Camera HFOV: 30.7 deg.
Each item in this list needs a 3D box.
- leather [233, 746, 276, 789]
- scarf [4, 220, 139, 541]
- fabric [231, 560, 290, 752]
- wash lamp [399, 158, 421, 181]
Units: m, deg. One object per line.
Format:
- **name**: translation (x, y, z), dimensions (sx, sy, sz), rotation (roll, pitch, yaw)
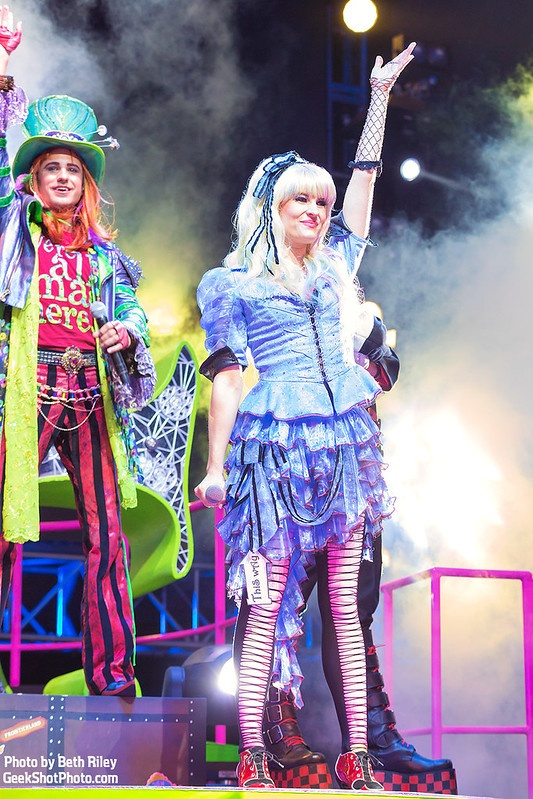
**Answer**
- **leather**: translation (-0.027, 0.769, 2.015), dimensions (0.052, 0.048, 0.137), rotation (2, -14, -12)
- **scarf**: translation (-0.514, -0.047, 2.544), dimensions (0.145, 0.852, 0.342), rotation (-21, -24, 38)
- **fabric**: translation (-0.003, 0.560, 2.159), dimensions (0.144, 0.402, 0.086), rotation (-5, -19, -3)
- **wash lamp**: translation (0.752, -1.224, 5.134), dimensions (0.116, 0.096, 0.026), rotation (10, 9, 36)
